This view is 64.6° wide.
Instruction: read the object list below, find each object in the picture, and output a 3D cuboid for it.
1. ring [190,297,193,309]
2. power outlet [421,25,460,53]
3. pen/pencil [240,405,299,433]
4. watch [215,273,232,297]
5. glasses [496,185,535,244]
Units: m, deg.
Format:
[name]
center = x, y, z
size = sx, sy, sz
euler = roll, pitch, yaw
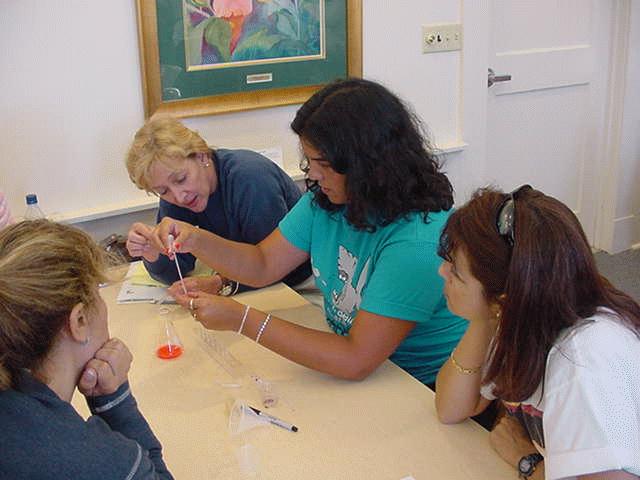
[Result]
[ring]
center = -0.374, 0.188, 1.477
size = 0.009, 0.027, 0.021
euler = 2, 45, -16
[power outlet]
center = 0.710, -1.174, 2.940
size = 0.272, 0.149, 0.059
euler = -18, 25, -28
[pen/pencil]
center = -0.129, 0.458, 1.284
size = 0.111, 0.015, 0.017
euler = 17, 14, 21
[watch]
center = -0.358, 0.177, 1.905
size = 0.038, 0.052, 0.116
euler = -16, 38, -21
[glasses]
center = 0.397, -0.065, 1.026
size = 0.026, 0.097, 0.097
euler = 24, 43, -1
